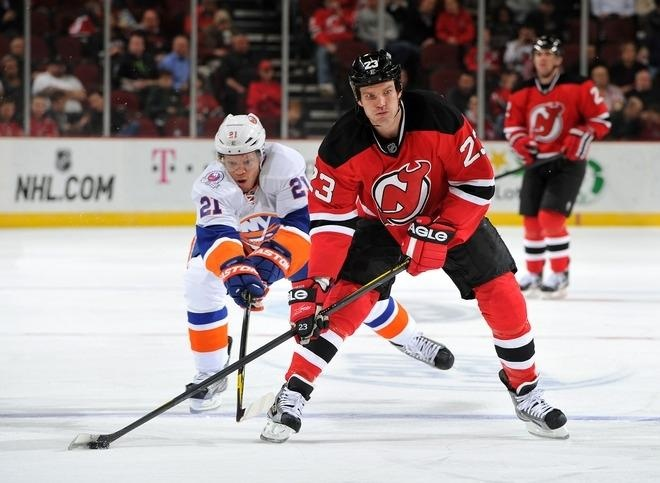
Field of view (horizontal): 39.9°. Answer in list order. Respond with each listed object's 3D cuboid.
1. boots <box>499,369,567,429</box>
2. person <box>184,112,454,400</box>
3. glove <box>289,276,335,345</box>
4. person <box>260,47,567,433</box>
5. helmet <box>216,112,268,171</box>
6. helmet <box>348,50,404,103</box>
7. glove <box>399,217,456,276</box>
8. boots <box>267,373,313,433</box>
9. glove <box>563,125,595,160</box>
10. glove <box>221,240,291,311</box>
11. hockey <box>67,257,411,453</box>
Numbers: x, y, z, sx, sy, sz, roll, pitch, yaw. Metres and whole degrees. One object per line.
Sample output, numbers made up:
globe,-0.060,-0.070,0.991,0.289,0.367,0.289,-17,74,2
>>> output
boots,0.922,0.725,4.175,0.116,0.141,0.368,-31,19,-7
person,-0.042,0.119,4.360,1.444,1.283,0.718,-8,-27,9
glove,-0.089,0.307,4.052,0.186,0.280,0.146,0,14,0
person,0.328,0.004,4.076,1.288,1.678,0.551,-1,14,-1
helmet,-0.436,-0.477,4.310,0.197,0.206,0.225,-3,21,9
helmet,0.186,-0.740,4.039,0.197,0.215,0.243,-13,-8,4
glove,0.430,0.021,4.017,0.202,0.247,0.093,15,16,3
boots,-0.182,0.706,4.033,0.117,0.167,0.351,34,3,-6
glove,1.711,-0.678,6.298,0.207,0.234,0.124,3,14,14
glove,-0.345,0.139,4.218,0.335,0.129,0.215,-39,37,-25
hockey,-0.424,0.583,4.475,1.558,0.151,0.161,-27,38,-20
